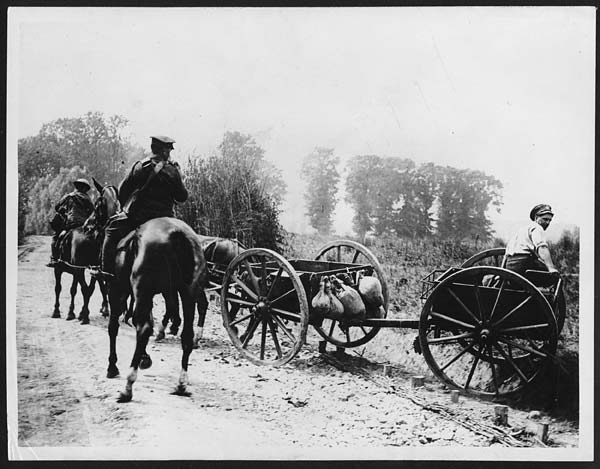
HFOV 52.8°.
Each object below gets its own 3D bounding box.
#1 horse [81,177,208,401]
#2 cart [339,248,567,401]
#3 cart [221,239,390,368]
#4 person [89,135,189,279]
[{"bbox_3d":[-1.824,0.625,7.138,1.121,2.513,1.633,-2,9,-22],"label":"horse"},{"bbox_3d":[1.835,1.121,7.122,2.461,1.812,1.011,1,0,19],"label":"cart"},{"bbox_3d":[0.015,0.799,7.700,1.460,1.386,1.893,2,0,-40],"label":"cart"},{"bbox_3d":[-1.890,-0.316,7.379,0.948,1.923,0.817,8,3,43],"label":"person"}]
